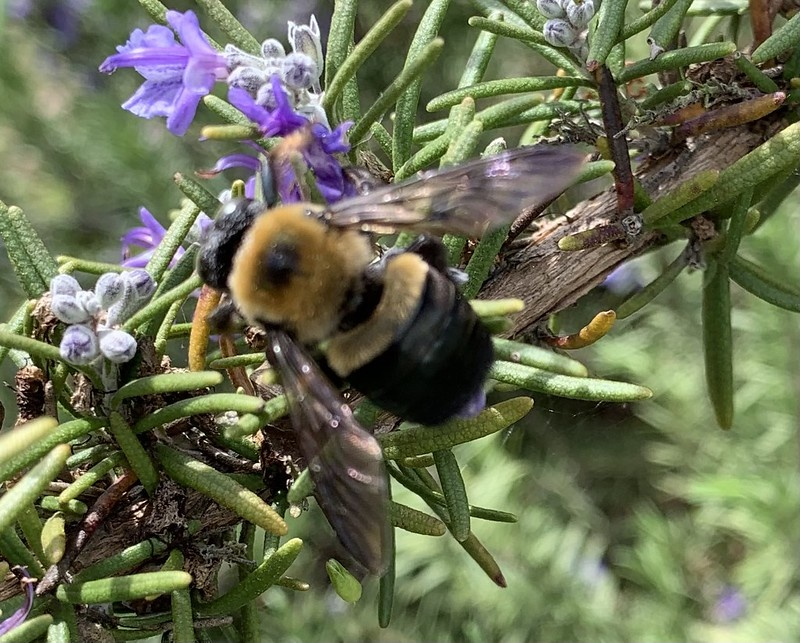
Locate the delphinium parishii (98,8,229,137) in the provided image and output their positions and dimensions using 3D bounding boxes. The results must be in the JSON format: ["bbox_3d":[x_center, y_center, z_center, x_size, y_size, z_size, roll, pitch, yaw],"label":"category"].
[{"bbox_3d":[-0.480,-0.504,1.907,0.221,0.219,0.260,-30,27,-7],"label":"delphinium parishii"}]
